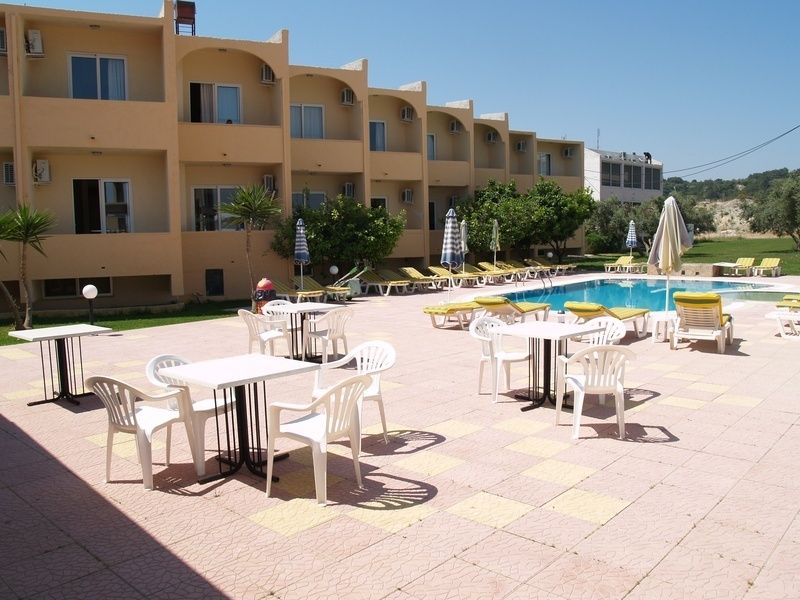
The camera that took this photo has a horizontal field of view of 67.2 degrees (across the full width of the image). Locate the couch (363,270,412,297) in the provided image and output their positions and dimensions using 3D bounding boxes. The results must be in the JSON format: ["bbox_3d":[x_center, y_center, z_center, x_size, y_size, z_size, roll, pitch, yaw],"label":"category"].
[{"bbox_3d":[-0.578,-0.708,25.477,1.609,0.652,1.393,-6,8,-43],"label":"couch"}]

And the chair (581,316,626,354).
[{"bbox_3d":[2.925,0.556,8.636,0.621,0.674,0.548,1,4,37],"label":"chair"}]

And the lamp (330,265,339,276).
[{"bbox_3d":[-2.622,-1.196,24.224,0.373,0.352,0.227,-3,-6,24],"label":"lamp"}]

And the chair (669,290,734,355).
[{"bbox_3d":[5.680,0.414,11.388,1.004,1.106,0.671,-1,4,22],"label":"chair"}]

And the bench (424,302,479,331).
[{"bbox_3d":[1.357,0.356,15.558,1.289,0.594,1.768,-2,3,6],"label":"bench"}]

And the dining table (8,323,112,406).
[{"bbox_3d":[-5.581,1.073,9.827,0.949,0.849,0.977,8,12,41],"label":"dining table"}]

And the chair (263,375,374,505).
[{"bbox_3d":[-0.791,1.420,5.923,0.884,1.170,0.970,8,10,36],"label":"chair"}]

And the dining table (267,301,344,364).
[{"bbox_3d":[-1.885,0.502,11.901,1.324,1.176,1.272,-7,9,-40],"label":"dining table"}]

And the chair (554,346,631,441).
[{"bbox_3d":[2.282,1.003,7.119,0.846,1.004,0.876,2,4,26],"label":"chair"}]

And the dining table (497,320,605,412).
[{"bbox_3d":[2.012,0.923,8.382,1.478,0.984,1.453,12,-11,-44],"label":"dining table"}]

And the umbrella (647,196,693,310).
[{"bbox_3d":[6.079,-1.431,13.556,0.832,1.859,1.169,-1,4,24],"label":"umbrella"}]
